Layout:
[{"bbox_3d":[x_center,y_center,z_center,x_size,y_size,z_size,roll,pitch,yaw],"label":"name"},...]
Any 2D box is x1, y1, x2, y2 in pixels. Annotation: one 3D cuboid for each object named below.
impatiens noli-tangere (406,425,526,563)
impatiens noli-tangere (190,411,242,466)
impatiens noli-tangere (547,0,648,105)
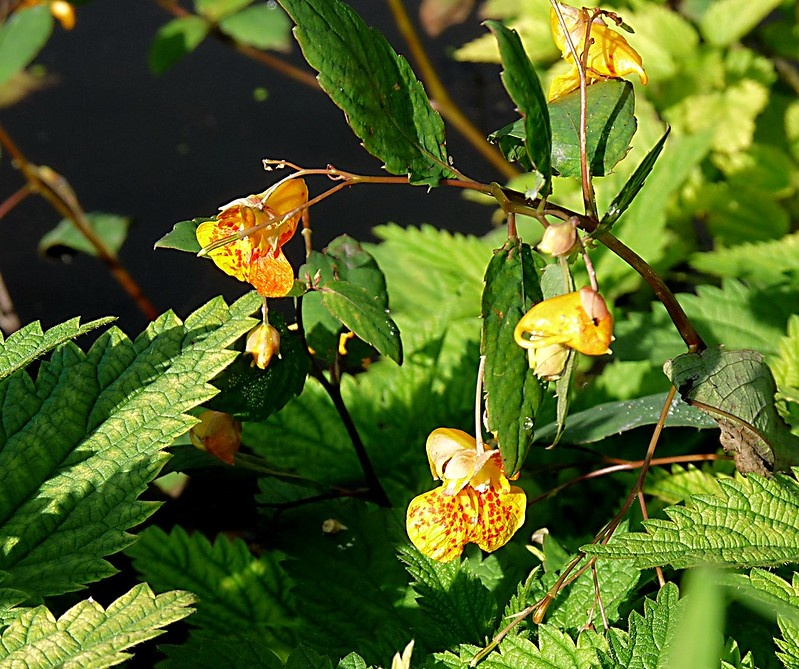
[{"bbox_3d":[0.075,0.142,0.909,0.112,0.104,0.044,-26,-57,32],"label":"impatiens noli-tangere"},{"bbox_3d":[-0.202,0.113,1.040,0.048,0.066,0.028,0,3,-4],"label":"impatiens noli-tangere"},{"bbox_3d":[0.183,-0.286,0.938,0.030,0.103,0.101,-25,-7,18],"label":"impatiens noli-tangere"}]
